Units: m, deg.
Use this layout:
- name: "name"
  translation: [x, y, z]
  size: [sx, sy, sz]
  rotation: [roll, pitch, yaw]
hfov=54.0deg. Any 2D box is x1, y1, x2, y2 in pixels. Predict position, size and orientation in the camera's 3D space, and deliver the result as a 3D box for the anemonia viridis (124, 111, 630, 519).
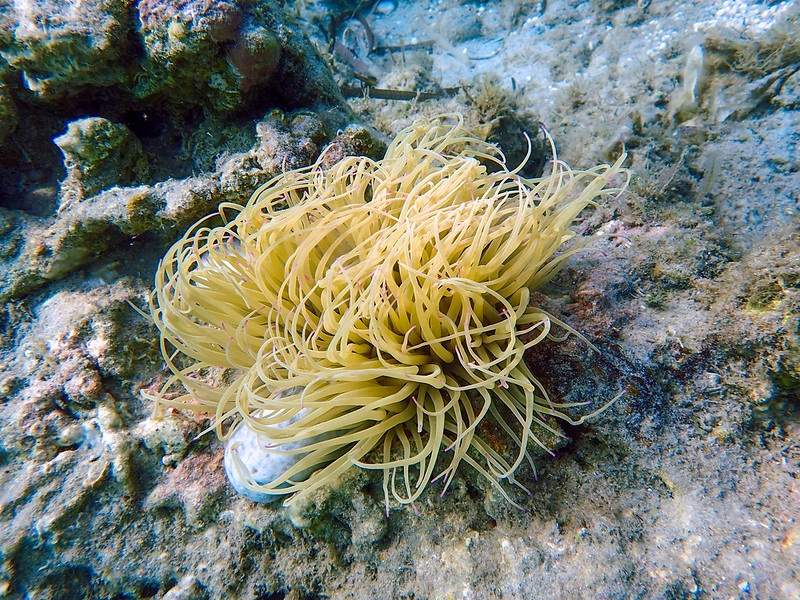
- name: "anemonia viridis"
  translation: [-0.060, 0.090, 4.760]
  size: [2.306, 0.876, 2.297]
  rotation: [-24, 84, 3]
